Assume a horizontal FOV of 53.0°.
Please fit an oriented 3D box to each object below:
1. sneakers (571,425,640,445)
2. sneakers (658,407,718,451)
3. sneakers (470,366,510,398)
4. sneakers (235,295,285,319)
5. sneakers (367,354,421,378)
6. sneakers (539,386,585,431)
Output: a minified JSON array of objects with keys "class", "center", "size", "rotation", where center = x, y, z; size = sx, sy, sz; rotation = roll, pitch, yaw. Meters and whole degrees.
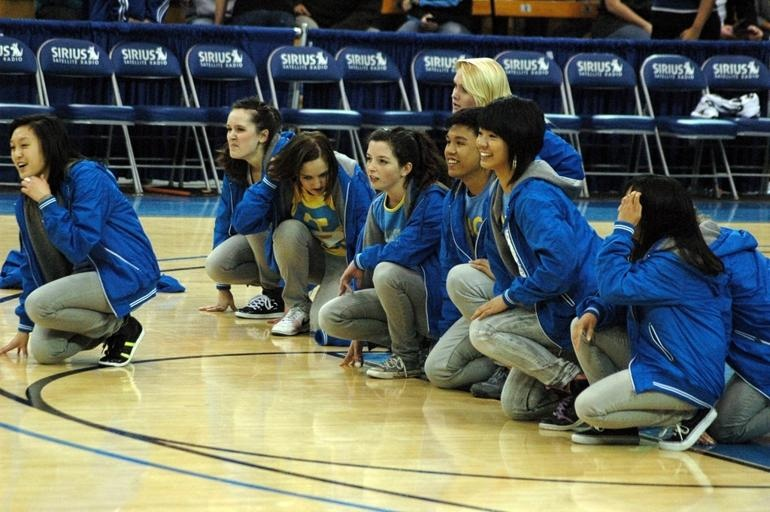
[{"class":"sneakers","center":[0.753,0.609,2.653],"size":[0.217,0.081,0.081],"rotation":[2,2,1]},{"class":"sneakers","center":[1.008,0.559,2.566],"size":[0.171,0.156,0.121],"rotation":[5,12,18]},{"class":"sneakers","center":[0.427,0.515,3.125],"size":[0.215,0.066,0.138],"rotation":[-2,41,2]},{"class":"sneakers","center":[-0.661,0.293,4.219],"size":[0.290,0.101,0.101],"rotation":[3,-3,-34]},{"class":"sneakers","center":[0.043,0.471,3.305],"size":[0.251,0.105,0.093],"rotation":[3,-3,-8]},{"class":"sneakers","center":[0.635,0.537,2.770],"size":[0.142,0.145,0.158],"rotation":[4,11,14]}]
